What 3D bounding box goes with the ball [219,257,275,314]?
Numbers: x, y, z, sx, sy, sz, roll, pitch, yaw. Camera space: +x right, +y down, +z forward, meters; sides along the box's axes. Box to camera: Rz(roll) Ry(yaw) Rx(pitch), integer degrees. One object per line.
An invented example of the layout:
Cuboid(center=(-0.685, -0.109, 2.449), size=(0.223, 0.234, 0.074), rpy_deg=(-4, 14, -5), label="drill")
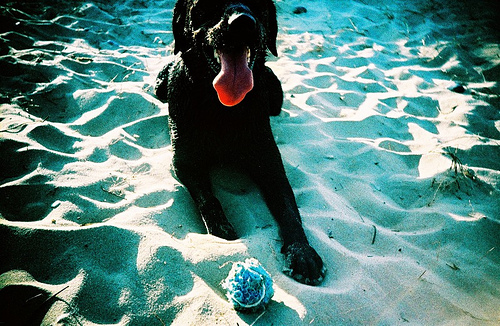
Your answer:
Cuboid(center=(-0.014, 1.473, 5.386), size=(0.534, 0.285, 0.586), rpy_deg=(0, 61, 0), label="ball")
